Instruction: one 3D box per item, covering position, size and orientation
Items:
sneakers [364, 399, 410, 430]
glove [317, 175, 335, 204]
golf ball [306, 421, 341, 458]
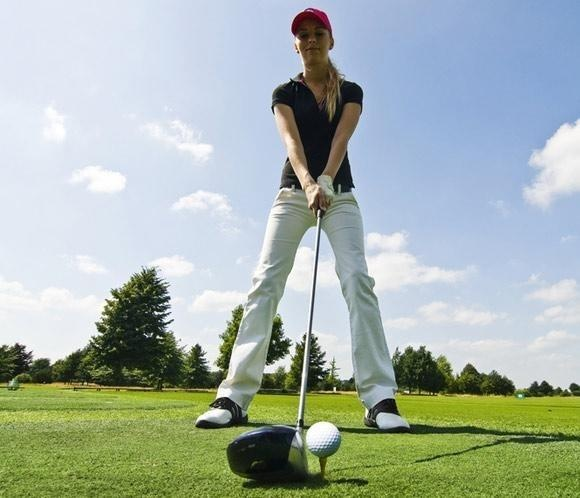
[{"bbox_3d":[0.795,1.379,3.865,0.158,0.222,0.488,2,-19,-8],"label":"sneakers"},{"bbox_3d":[0.333,-0.531,4.160,0.124,0.257,0.072,-4,3,-5],"label":"glove"},{"bbox_3d":[0.168,1.009,2.486,0.148,0.191,0.150,-13,-24,-6],"label":"golf ball"}]
